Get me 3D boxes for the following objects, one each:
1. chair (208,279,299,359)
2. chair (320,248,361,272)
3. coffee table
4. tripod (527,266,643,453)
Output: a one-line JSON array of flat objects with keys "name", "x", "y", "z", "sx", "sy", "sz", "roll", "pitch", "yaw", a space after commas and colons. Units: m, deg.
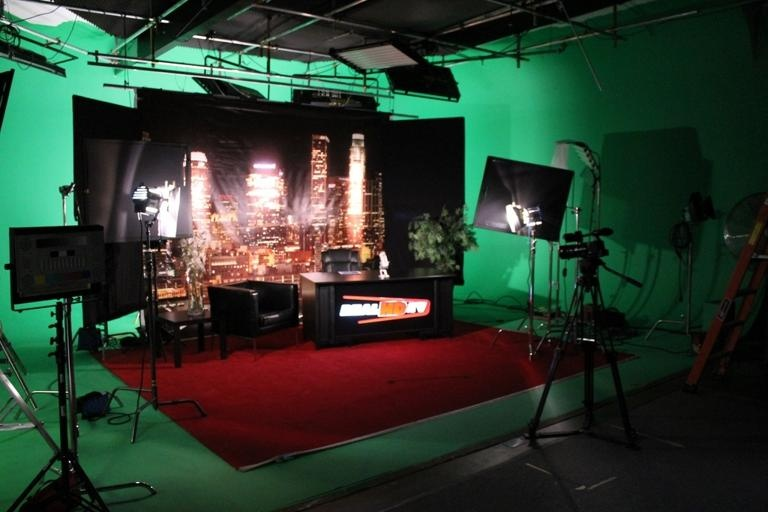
[{"name": "chair", "x": -1.970, "y": 0.863, "z": 8.572, "sx": 1.162, "sy": 1.182, "sz": 1.158, "roll": -1, "pitch": 0, "yaw": 33}, {"name": "chair", "x": -0.732, "y": 0.059, "z": 9.660, "sx": 0.427, "sy": 0.550, "sz": 0.471, "roll": 0, "pitch": 1, "yaw": -15}, {"name": "coffee table", "x": -2.783, "y": 1.047, "z": 8.224, "sx": 0.825, "sy": 0.746, "sz": 0.817, "roll": -6, "pitch": 10, "yaw": -40}, {"name": "tripod", "x": 2.598, "y": 1.337, "z": 7.325, "sx": 1.723, "sy": 2.346, "sz": 1.437, "roll": 2, "pitch": 9, "yaw": 6}]
